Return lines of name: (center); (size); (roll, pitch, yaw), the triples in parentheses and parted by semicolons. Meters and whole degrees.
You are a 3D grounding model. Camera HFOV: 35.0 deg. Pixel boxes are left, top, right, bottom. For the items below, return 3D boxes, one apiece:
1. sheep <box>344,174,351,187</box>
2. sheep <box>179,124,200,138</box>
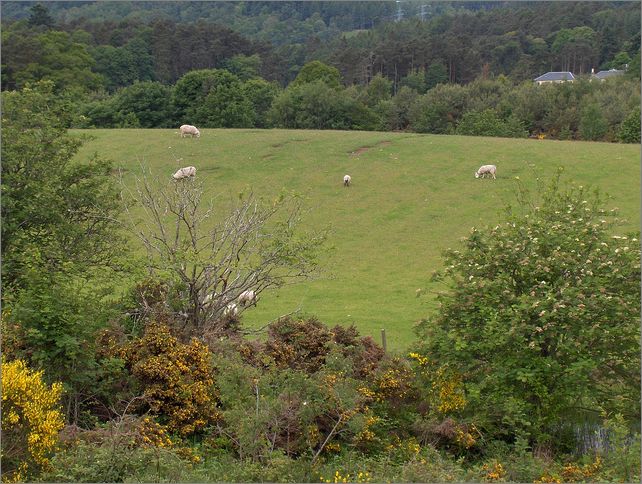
sheep: (2.915, -7.238, 116.897); (0.769, 1.125, 1.298); (-2, 17, -1)
sheep: (-16.631, -14.111, 127.470); (2.366, 1.560, 1.475); (-4, 17, -9)
